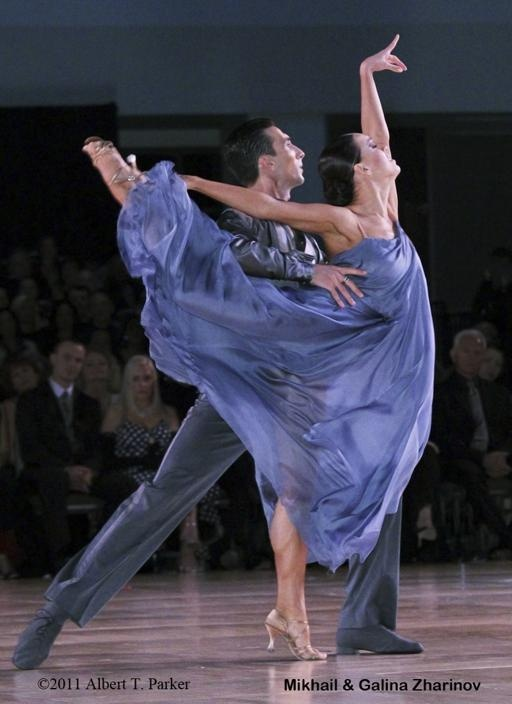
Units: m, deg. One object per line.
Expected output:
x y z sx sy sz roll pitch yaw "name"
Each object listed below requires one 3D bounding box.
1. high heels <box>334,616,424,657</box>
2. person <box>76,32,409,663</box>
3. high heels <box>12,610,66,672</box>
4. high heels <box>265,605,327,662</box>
0.278 0.681 2.358 0.239 0.068 0.069 -2 -11 8 "high heels"
0.083 0.071 2.525 0.655 1.532 0.873 -6 15 8 "person"
-0.481 0.642 2.270 0.063 0.065 0.163 39 25 -5 "high heels"
0.095 0.651 2.300 0.174 0.089 0.053 17 -17 -11 "high heels"
